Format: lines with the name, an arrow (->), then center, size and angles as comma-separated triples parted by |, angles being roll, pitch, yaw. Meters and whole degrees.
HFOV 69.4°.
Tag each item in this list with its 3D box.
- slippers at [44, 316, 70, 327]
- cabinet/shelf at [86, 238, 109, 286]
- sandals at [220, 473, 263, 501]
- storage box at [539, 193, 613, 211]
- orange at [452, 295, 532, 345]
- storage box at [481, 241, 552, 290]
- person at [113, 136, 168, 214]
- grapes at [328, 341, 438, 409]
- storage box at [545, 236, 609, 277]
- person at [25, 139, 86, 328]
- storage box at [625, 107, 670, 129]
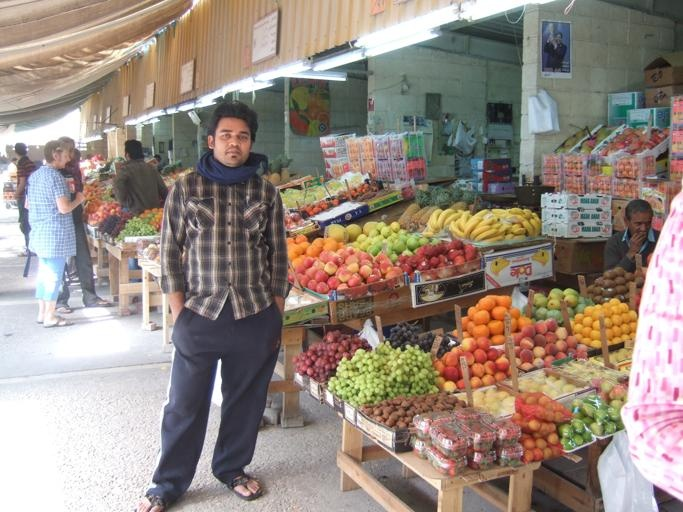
slippers -> -3.483, 0.808, 6.092 | 0.262, 0.093, 0.143 | -6, 11, -28
cabinet/shelf -> -3.864, 0.098, 7.911 | 0.248, 0.361, 0.812 | -1, 7, -21
sandals -> -0.549, 1.363, 2.912 | 0.113, 0.061, 0.232 | -4, 4, -36
storage box -> 2.372, -0.548, 4.899 | 0.695, 0.205, 0.283 | -5, 10, -8
orange -> 1.008, 0.406, 3.278 | 0.397, 0.213, 0.352 | -8, 6, 11
storage box -> 1.422, 0.058, 4.423 | 0.782, 0.325, 0.620 | -10, 8, -28
person -> -2.838, -0.873, 7.001 | 0.744, 1.480, 0.577 | -15, 32, -40
grapes -> 0.219, 0.601, 2.939 | 0.572, 0.306, 0.472 | -1, 13, -20
storage box -> 2.313, -0.046, 5.064 | 0.538, 0.400, 0.584 | 0, 11, -16
person -> -3.483, -0.306, 6.118 | 0.719, 2.136, 0.619 | 8, 9, 30
storage box -> 4.648, -2.083, 7.458 | 0.324, 0.391, 0.596 | -6, 10, -31
